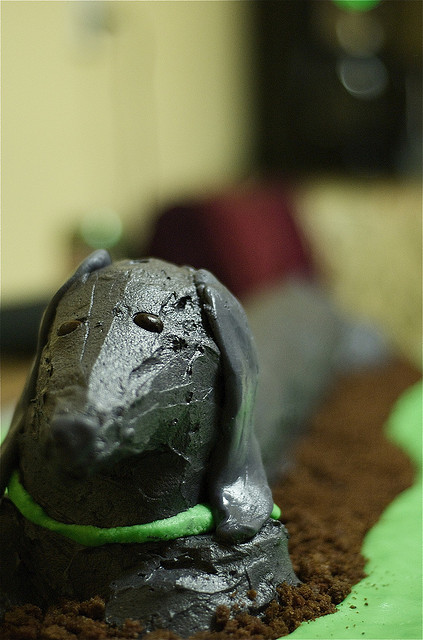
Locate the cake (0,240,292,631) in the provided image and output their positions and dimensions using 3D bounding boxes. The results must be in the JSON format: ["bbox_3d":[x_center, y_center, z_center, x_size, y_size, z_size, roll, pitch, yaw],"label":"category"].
[{"bbox_3d":[-0.071,0.125,0.933,0.407,0.368,0.435,7,5,24],"label":"cake"}]
